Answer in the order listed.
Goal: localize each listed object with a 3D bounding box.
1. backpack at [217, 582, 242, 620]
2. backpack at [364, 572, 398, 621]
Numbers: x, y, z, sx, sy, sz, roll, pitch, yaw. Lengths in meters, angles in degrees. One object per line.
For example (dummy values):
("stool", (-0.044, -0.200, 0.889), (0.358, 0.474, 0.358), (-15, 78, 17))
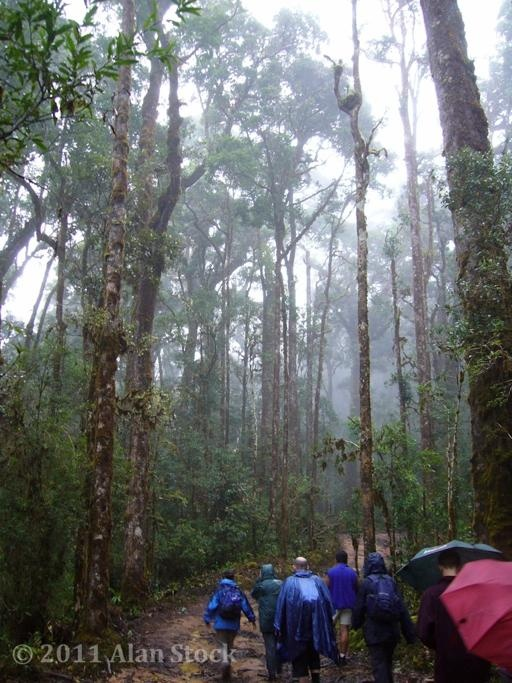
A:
("backpack", (-0.344, 3.229, 8.039), (0.280, 0.423, 0.245), (11, -41, -16))
("backpack", (1.249, 2.624, 6.519), (0.348, 0.536, 0.318), (5, -54, 6))
